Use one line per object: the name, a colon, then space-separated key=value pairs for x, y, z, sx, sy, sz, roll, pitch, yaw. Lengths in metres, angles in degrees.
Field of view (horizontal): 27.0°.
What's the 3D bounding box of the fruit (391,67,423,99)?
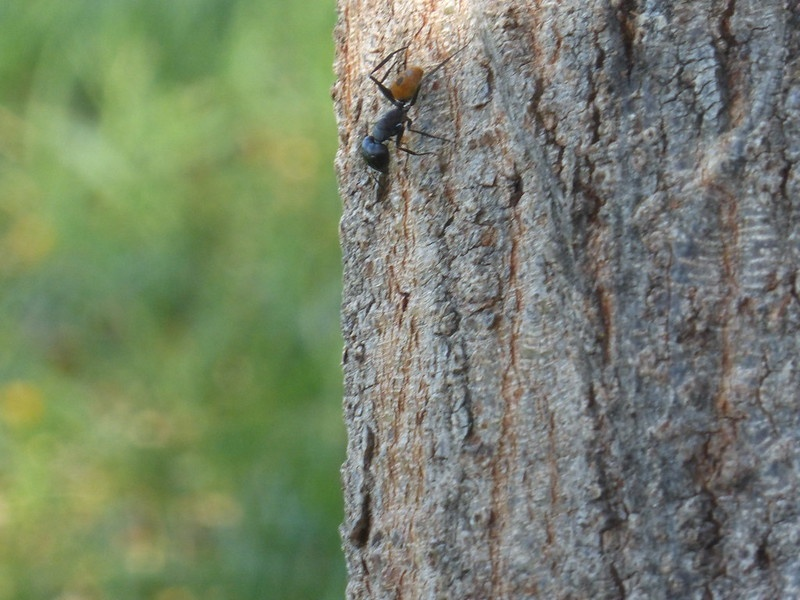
fruit: x=0.030 y=-0.820 z=6.314 sx=0.095 sy=0.047 sz=0.122 roll=36 pitch=105 yaw=12
